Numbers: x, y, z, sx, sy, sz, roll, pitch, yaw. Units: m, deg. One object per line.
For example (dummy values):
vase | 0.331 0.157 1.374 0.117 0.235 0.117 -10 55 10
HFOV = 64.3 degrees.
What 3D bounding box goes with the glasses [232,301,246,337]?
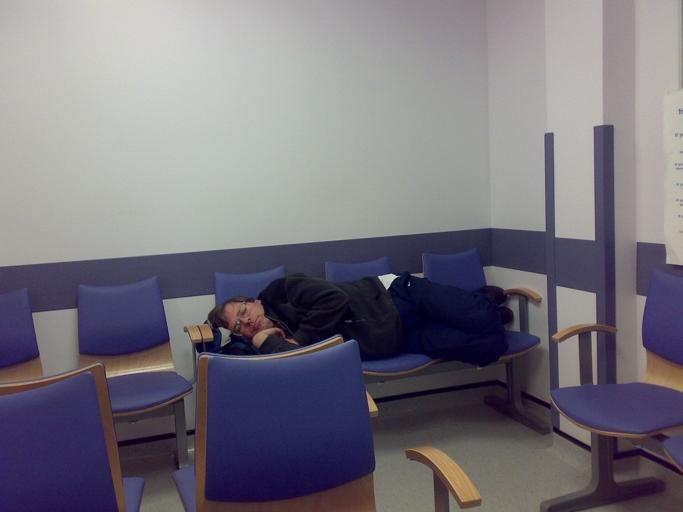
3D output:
glasses | -0.640 0.389 3.399 0.046 0.168 0.161 0 2 -13
